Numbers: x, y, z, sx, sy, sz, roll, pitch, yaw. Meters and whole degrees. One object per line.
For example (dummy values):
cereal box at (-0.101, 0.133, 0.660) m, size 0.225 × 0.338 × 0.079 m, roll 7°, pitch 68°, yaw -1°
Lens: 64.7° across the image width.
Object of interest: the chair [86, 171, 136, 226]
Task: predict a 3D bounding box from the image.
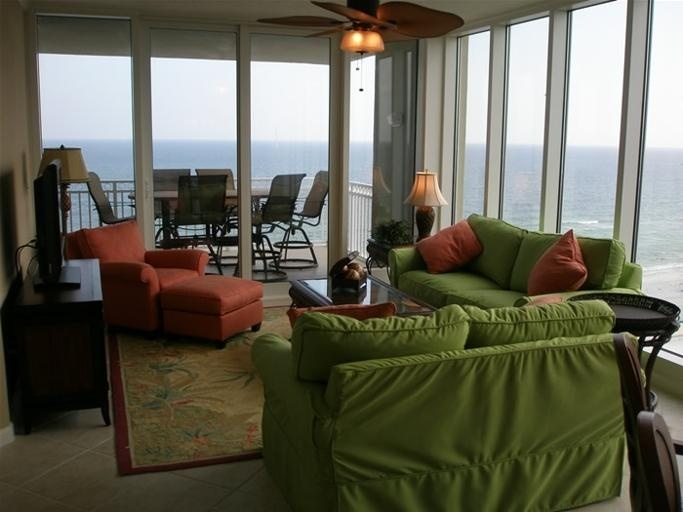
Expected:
chair at (-2.341, -0.574, 5.789) m, size 0.639 × 0.562 × 0.408 m, roll 1°, pitch 11°, yaw -12°

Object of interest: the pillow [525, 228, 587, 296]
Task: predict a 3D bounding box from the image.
pillow at (1.692, 0.068, 4.237) m, size 0.296 × 0.353 × 0.488 m, roll 5°, pitch -23°, yaw -12°

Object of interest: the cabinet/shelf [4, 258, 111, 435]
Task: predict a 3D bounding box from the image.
cabinet/shelf at (-1.905, 0.640, 3.595) m, size 0.425 × 0.528 × 1.135 m, roll -3°, pitch 10°, yaw -20°

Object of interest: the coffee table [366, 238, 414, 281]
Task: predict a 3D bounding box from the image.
coffee table at (0.478, -0.046, 6.239) m, size 0.449 × 0.546 × 0.705 m, roll -7°, pitch 14°, yaw -29°
